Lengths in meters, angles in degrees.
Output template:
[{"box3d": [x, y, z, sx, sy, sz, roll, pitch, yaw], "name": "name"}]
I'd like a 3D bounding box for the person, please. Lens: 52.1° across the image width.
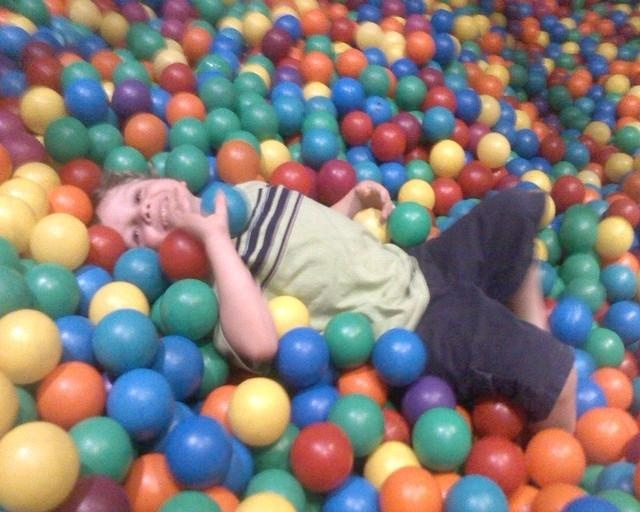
[{"box3d": [0.142, 0.350, 3.043, 1.736, 0.632, 1.134, 20, 33, 2], "name": "person"}]
